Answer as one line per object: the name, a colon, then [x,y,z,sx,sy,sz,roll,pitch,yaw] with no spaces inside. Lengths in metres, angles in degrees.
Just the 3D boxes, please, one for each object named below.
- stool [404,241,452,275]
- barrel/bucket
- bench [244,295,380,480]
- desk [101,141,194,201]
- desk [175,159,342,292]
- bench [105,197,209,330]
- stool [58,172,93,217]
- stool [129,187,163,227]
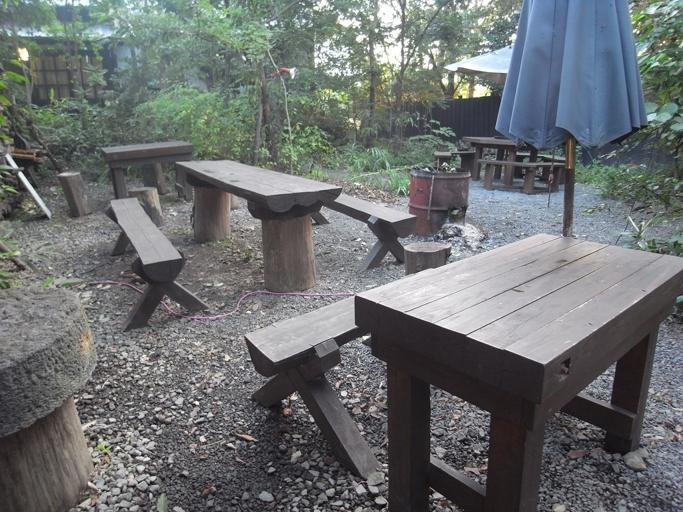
stool: [0.726,-0.005,4.374,0.370,0.276,0.326,1,25,29]
barrel/bucket: [1.258,-0.706,6.549,0.793,0.822,0.790,1,18,0]
bench: [-0.097,0.751,3.108,1.002,0.640,0.985,-20,16,-41]
desk: [-3.026,-1.313,7.911,1.451,0.913,0.746,-15,29,-35]
desk: [-1.057,-0.431,5.551,0.817,0.933,2.664,-9,19,-33]
bench: [-1.841,0.095,4.992,0.522,0.417,1.415,-6,25,-29]
stool: [-3.798,-0.887,7.173,0.307,0.622,0.380,-10,21,-24]
stool: [-2.751,-0.723,7.121,0.429,0.495,0.437,0,18,-4]
